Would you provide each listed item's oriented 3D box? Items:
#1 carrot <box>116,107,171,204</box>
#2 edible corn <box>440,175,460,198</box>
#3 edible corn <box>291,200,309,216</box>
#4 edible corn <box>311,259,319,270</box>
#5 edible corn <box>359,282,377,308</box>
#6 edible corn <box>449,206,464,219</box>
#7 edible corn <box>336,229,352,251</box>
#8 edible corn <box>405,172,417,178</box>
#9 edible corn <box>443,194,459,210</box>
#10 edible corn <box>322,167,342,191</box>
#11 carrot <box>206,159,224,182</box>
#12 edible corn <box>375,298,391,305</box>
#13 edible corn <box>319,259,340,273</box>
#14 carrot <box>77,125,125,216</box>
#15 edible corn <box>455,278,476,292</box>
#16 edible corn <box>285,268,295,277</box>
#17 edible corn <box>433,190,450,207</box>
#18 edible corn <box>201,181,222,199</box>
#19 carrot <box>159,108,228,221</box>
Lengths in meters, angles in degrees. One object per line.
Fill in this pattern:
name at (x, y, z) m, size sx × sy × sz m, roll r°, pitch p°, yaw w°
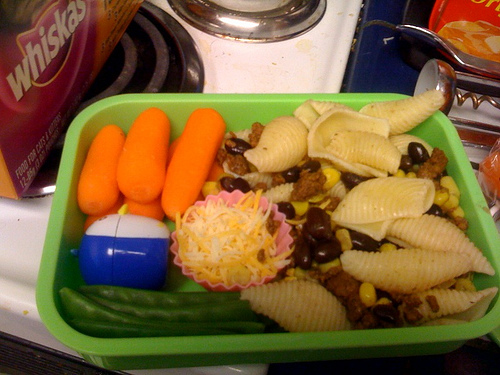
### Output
carrot at (-0.337, -0.115, 1.459) m, size 0.146 × 0.164 × 0.346 m, roll 1°, pitch 55°, yaw 0°
edible corn at (0.631, -0.004, 1.393) m, size 0.035 × 0.035 × 0.081 m, roll -14°, pitch 72°, yaw -29°
edible corn at (0.157, 0.063, 1.388) m, size 0.042 × 0.042 × 0.036 m, roll 0°, pitch 103°, yaw 16°
edible corn at (0.199, 0.236, 1.343) m, size 0.024 × 0.014 × 0.026 m, roll -8°, pitch 87°, yaw -7°
edible corn at (0.338, 0.305, 1.266) m, size 0.044 × 0.038 × 0.068 m, roll -1°, pitch 84°, yaw -6°
edible corn at (0.645, 0.077, 1.378) m, size 0.033 × 0.020 × 0.027 m, roll -18°, pitch 37°, yaw -17°
edible corn at (0.292, 0.161, 1.335) m, size 0.032 × 0.020 × 0.062 m, roll -9°, pitch 71°, yaw 3°
edible corn at (0.517, -0.040, 1.418) m, size 0.028 × 0.017 × 0.024 m, roll -9°, pitch 35°, yaw -14°
edible corn at (0.628, 0.047, 1.385) m, size 0.040 × 0.025 × 0.047 m, roll -11°, pitch 77°, yaw 4°
edible corn at (0.256, -0.031, 1.399) m, size 0.054 × 0.034 × 0.067 m, roll 36°, pitch 79°, yaw 17°
carrot at (-0.128, -0.056, 1.504) m, size 0.052 × 0.026 × 0.071 m, roll 5°, pitch 86°, yaw 8°
edible corn at (0.381, 0.324, 1.261) m, size 0.023 × 0.020 × 0.014 m, roll -15°, pitch 104°, yaw -22°
edible corn at (0.239, 0.234, 1.326) m, size 0.040 × 0.041 × 0.032 m, roll -18°, pitch 100°, yaw -10°
carrot at (-0.463, -0.066, 1.434) m, size 0.106 × 0.109 × 0.267 m, roll 16°, pitch 65°, yaw -13°
edible corn at (0.631, 0.291, 1.299) m, size 0.052 × 0.032 × 0.043 m, roll 12°, pitch 54°, yaw 5°
edible corn at (0.124, 0.256, 1.340) m, size 0.020 × 0.008 × 0.021 m, roll -32°, pitch 68°, yaw 9°
edible corn at (0.596, 0.034, 1.373) m, size 0.033 × 0.024 × 0.045 m, roll 27°, pitch 78°, yaw 20°
edible corn at (-0.125, 0.003, 1.450) m, size 0.053 × 0.032 × 0.057 m, roll -2°, pitch 71°, yaw 3°
carrot at (-0.175, -0.089, 1.463) m, size 0.137 × 0.127 × 0.423 m, roll 23°, pitch 74°, yaw -5°
